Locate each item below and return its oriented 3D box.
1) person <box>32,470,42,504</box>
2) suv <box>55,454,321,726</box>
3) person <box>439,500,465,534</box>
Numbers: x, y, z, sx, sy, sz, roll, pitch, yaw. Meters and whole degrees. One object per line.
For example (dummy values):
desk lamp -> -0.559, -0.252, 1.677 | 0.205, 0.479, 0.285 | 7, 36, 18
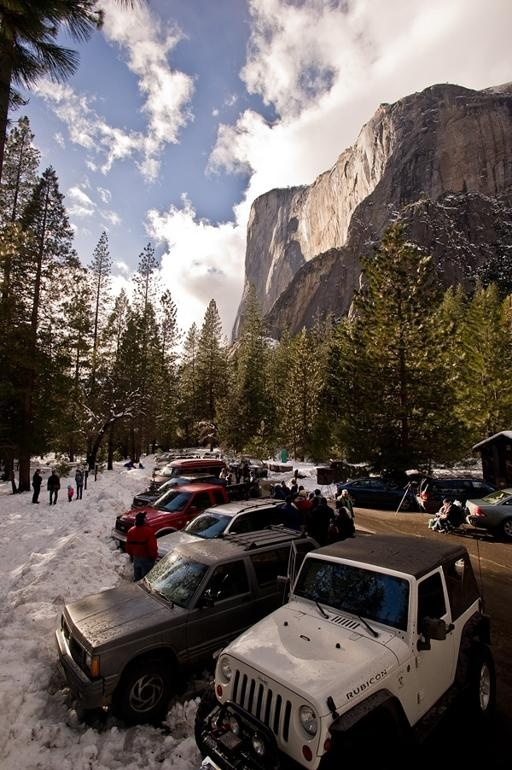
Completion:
person -> -9.159, 4.245, 21.076 | 0.311, 1.319, 1.138 | -1, -4, -26
suv -> -0.751, 2.719, 6.726 | 3.279, 1.748, 1.614 | 6, -11, -40
person -> 5.522, 3.777, 14.419 | 0.404, 1.013, 0.794 | 1, 8, 28
